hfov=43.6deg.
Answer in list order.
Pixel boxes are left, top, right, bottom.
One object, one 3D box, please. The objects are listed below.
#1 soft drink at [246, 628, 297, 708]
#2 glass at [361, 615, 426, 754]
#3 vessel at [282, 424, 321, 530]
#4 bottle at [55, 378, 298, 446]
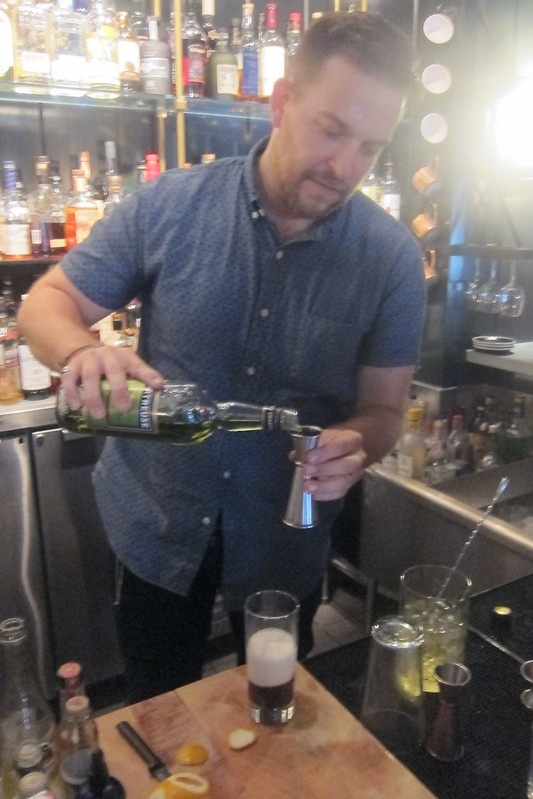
[{"bbox_3d":[0.007,0.341,0.852,0.061,0.067,0.082,0,12,-1],"label":"soft drink"},{"bbox_3d":[0.155,0.344,0.822,0.069,0.132,0.098,-3,12,-18],"label":"glass"},{"bbox_3d":[0.053,0.120,0.975,0.049,0.180,0.099,1,12,3],"label":"vessel"},{"bbox_3d":[-0.137,0.017,0.948,0.352,0.101,0.194,-1,12,-7],"label":"bottle"}]
